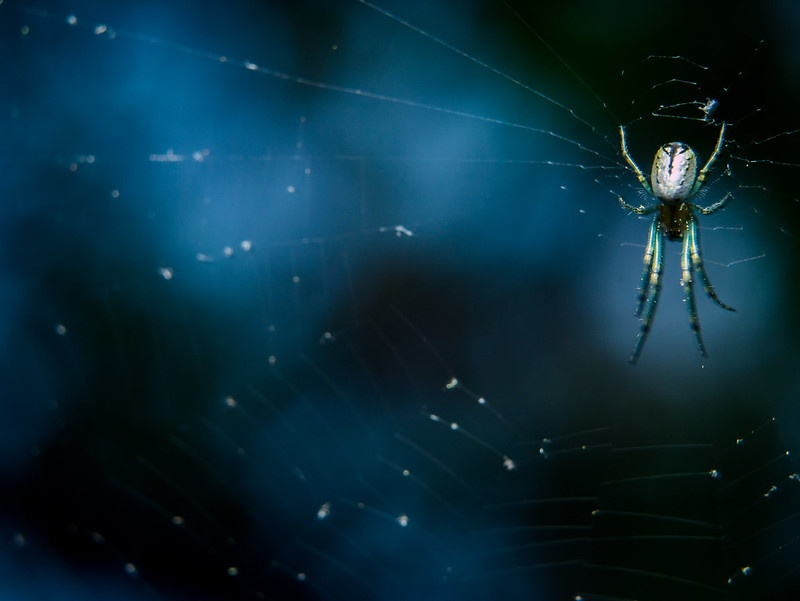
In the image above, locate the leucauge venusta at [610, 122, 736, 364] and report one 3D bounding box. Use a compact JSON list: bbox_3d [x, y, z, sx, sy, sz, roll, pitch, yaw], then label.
[{"bbox_3d":[0.814,-0.212,2.362,0.382,0.164,0.776,2,-42,18],"label":"leucauge venusta"}]
